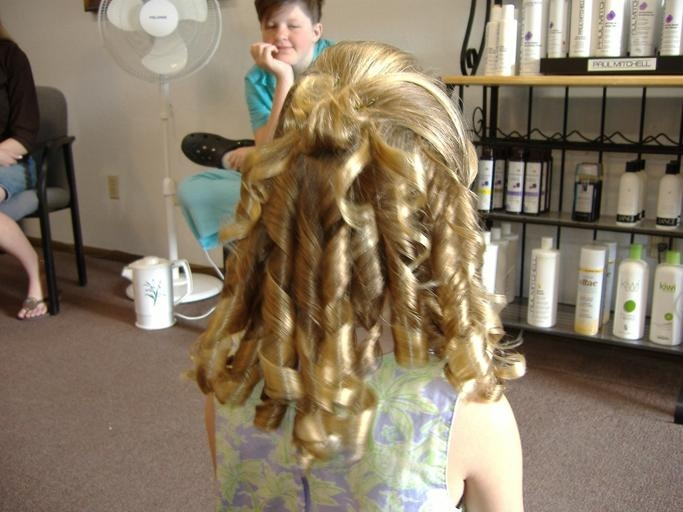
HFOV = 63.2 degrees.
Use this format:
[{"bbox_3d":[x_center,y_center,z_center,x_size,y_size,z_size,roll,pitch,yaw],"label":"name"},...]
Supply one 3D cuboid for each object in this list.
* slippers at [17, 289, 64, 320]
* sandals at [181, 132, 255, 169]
[{"bbox_3d":[-1.407,0.222,2.575,0.087,0.058,0.259,0,11,-6],"label":"slippers"},{"bbox_3d":[-0.528,-0.503,2.554,0.402,0.161,0.192,8,21,9],"label":"sandals"}]
